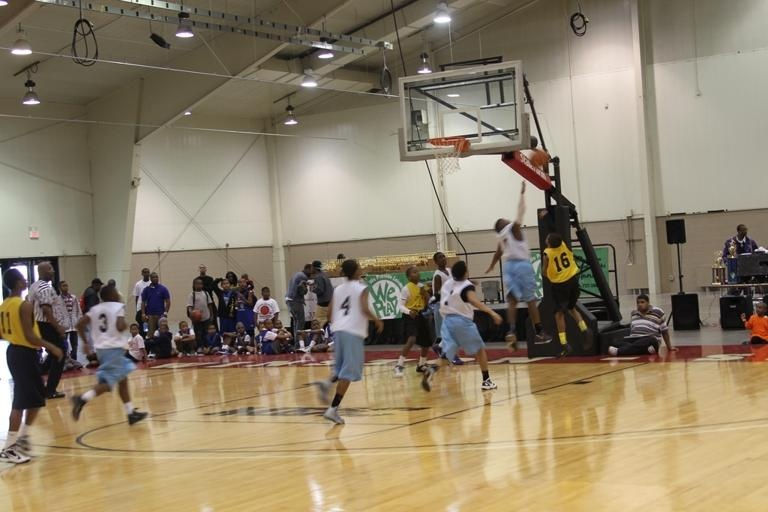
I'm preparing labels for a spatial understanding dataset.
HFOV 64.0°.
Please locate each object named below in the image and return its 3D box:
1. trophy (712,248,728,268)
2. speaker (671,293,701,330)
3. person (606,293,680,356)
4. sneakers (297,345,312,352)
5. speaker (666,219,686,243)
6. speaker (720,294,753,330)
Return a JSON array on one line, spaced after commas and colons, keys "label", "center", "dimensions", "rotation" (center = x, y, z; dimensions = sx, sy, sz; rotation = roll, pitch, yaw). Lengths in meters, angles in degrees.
[{"label": "trophy", "center": [8.476, 0.049, 15.530], "dimensions": [0.500, 0.509, 0.477], "rotation": [0, 2, 12]}, {"label": "speaker", "center": [6.299, 0.970, 12.907], "dimensions": [0.507, 0.950, 0.680], "rotation": [-5, 35, 26]}, {"label": "person", "center": [4.440, 1.183, 10.241], "dimensions": [1.015, 1.235, 0.981], "rotation": [13, -15, -39]}, {"label": "sneakers", "center": [-1.802, 2.086, 13.816], "dimensions": [0.313, 0.133, 0.119], "rotation": [3, -6, 11]}, {"label": "speaker", "center": [6.270, -0.521, 13.215], "dimensions": [0.351, 0.487, 0.322], "rotation": [-6, -3, 21]}, {"label": "speaker", "center": [6.972, 1.123, 12.180], "dimensions": [0.628, 0.632, 0.637], "rotation": [10, -13, -19]}]
